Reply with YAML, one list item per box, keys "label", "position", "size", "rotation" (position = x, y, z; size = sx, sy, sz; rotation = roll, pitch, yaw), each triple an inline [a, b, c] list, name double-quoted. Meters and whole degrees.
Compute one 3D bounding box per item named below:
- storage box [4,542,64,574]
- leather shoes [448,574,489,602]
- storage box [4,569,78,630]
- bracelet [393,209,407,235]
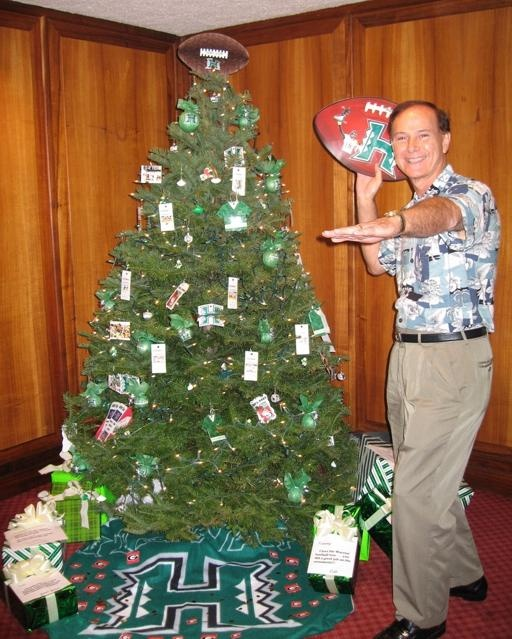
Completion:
- label: "storage box"
  position: [-0.818, 0.865, 2.095]
  size: [0.139, 0.085, 0.136]
  rotation: [26, 39, 32]
- label: "leather shoes"
  position: [0.726, 0.970, 2.063]
  size: [0.201, 0.063, 0.061]
  rotation: [0, 16, 2]
- label: "storage box"
  position: [-0.736, 0.975, 1.967]
  size: [0.159, 0.064, 0.208]
  rotation: [-6, 10, -40]
- label: "bracelet"
  position: [0.357, -0.254, 1.453]
  size: [0.023, 0.050, 0.050]
  rotation: [0, -6, -1]
